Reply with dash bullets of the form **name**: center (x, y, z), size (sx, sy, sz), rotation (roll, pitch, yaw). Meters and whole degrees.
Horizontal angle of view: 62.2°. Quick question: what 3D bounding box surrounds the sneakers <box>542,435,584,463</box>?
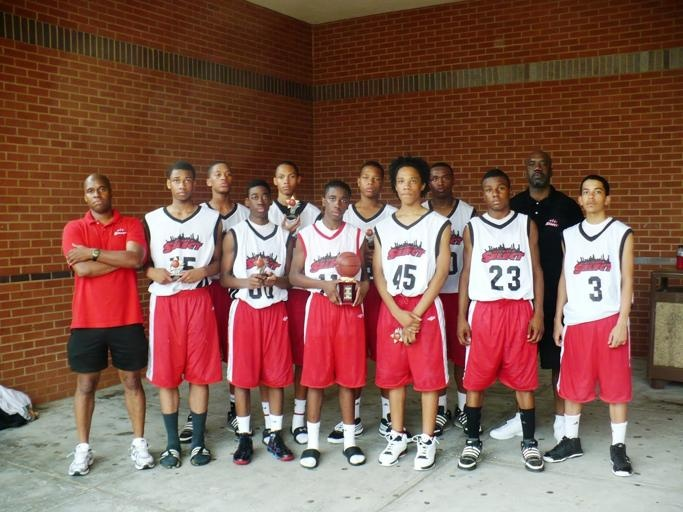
- **sneakers**: center (1.953, 1.690, 5.025), size (0.455, 0.189, 0.145), rotation (-4, -4, -22)

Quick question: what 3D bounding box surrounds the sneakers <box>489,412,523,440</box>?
- **sneakers**: center (1.708, 1.661, 5.559), size (0.528, 0.206, 0.178), rotation (-1, -6, -27)

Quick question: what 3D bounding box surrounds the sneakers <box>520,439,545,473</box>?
- **sneakers**: center (1.656, 1.693, 4.878), size (0.196, 0.195, 0.287), rotation (1, 7, 18)

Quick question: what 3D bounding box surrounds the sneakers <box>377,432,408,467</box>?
- **sneakers**: center (0.446, 1.685, 4.946), size (0.145, 0.176, 0.407), rotation (-3, -1, 28)

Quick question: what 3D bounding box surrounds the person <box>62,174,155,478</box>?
- **person**: center (-2.007, 0.569, 4.823), size (0.741, 2.516, 0.415), rotation (-3, 7, -18)

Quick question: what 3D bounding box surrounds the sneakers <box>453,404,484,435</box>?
- **sneakers**: center (1.276, 1.627, 5.713), size (0.147, 0.177, 0.419), rotation (0, -4, -3)

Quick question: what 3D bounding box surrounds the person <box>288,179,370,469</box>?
- **person**: center (-0.094, 0.565, 5.004), size (0.690, 2.454, 0.577), rotation (-1, 7, -4)

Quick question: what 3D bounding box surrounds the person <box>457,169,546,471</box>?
- **person**: center (1.391, 0.523, 4.907), size (0.745, 2.533, 0.606), rotation (0, 7, 11)

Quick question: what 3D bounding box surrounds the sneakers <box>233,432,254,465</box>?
- **sneakers**: center (-0.871, 1.681, 5.055), size (0.180, 0.242, 0.254), rotation (-2, 7, -10)

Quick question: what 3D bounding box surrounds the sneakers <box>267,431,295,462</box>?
- **sneakers**: center (-0.551, 1.693, 5.036), size (0.147, 0.213, 0.361), rotation (1, -5, -33)

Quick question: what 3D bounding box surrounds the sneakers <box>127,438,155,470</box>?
- **sneakers**: center (-1.739, 1.715, 4.931), size (0.143, 0.150, 0.345), rotation (0, 2, -30)

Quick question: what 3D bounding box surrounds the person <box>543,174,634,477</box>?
- **person**: center (2.176, 0.541, 4.855), size (0.682, 2.463, 0.572), rotation (2, 7, 26)

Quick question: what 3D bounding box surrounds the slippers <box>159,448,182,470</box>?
- **slippers**: center (-1.489, 1.748, 4.942), size (0.185, 0.139, 0.174), rotation (-3, 7, -18)

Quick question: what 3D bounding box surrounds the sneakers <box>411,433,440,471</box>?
- **sneakers**: center (0.724, 1.680, 4.912), size (0.158, 0.138, 0.344), rotation (0, 1, 16)

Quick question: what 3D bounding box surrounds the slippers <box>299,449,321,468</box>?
- **slippers**: center (-0.267, 1.741, 4.900), size (0.172, 0.134, 0.158), rotation (-1, 7, -5)

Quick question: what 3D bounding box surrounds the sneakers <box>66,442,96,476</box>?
- **sneakers**: center (-2.244, 1.734, 4.880), size (0.160, 0.139, 0.311), rotation (1, -4, -12)

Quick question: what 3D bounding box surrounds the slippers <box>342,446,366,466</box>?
- **slippers**: center (0.100, 1.730, 4.956), size (0.229, 0.131, 0.159), rotation (2, 7, 20)

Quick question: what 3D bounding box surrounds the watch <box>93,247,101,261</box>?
- **watch**: center (-2.014, -0.017, 4.663), size (0.061, 0.084, 0.084), rotation (1, -11, -15)

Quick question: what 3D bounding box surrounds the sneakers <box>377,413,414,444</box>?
- **sneakers**: center (0.528, 1.651, 5.451), size (0.158, 0.192, 0.452), rotation (-1, -1, -29)

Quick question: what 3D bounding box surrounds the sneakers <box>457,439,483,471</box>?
- **sneakers**: center (1.109, 1.711, 4.875), size (0.119, 0.136, 0.340), rotation (-3, -8, 21)

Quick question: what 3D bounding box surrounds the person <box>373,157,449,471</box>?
- **person**: center (0.625, 0.473, 5.009), size (0.666, 2.631, 0.707), rotation (-1, 7, -1)

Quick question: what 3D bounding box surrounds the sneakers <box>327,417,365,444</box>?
- **sneakers**: center (0.053, 1.695, 5.523), size (0.161, 0.192, 0.476), rotation (-6, -14, 23)

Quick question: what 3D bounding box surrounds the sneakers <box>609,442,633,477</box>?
- **sneakers**: center (2.369, 1.700, 4.794), size (0.163, 0.146, 0.439), rotation (-8, 2, 21)

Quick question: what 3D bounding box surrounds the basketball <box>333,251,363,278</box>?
- **basketball**: center (0.072, 0.061, 4.884), size (0.220, 0.207, 0.211), rotation (32, -48, -24)
